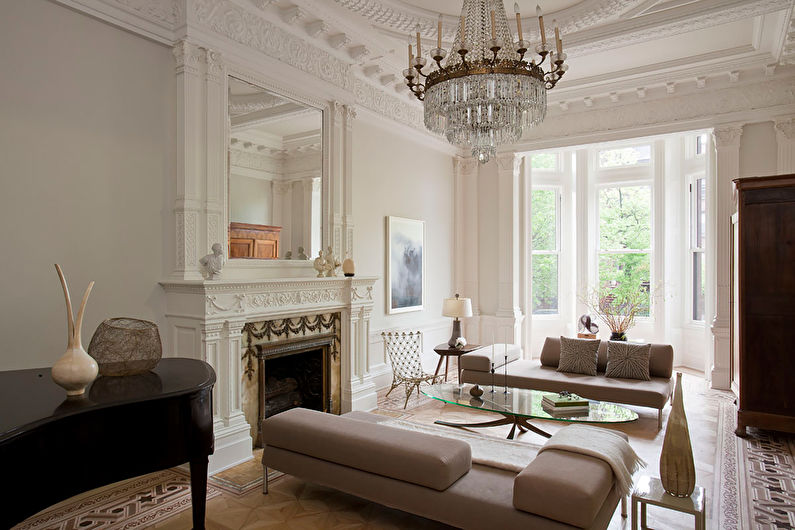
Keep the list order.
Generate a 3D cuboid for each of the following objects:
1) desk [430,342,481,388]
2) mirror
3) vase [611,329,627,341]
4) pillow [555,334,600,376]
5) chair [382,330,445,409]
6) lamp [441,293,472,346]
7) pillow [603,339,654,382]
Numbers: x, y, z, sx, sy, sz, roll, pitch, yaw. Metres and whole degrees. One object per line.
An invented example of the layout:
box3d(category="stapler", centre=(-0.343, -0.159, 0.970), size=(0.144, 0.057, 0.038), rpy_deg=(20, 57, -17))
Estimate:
box3d(category="desk", centre=(0.902, 1.703, 8.997), size=(0.750, 0.711, 0.766), rpy_deg=(2, 3, 23))
box3d(category="mirror", centre=(-1.650, -1.254, 7.209), size=(0.161, 2.302, 1.511), rpy_deg=(0, 2, 37))
box3d(category="vase", centre=(4.127, 1.315, 9.696), size=(0.321, 0.196, 0.321), rpy_deg=(1, -2, -2))
box3d(category="pillow", centre=(2.817, 1.429, 8.224), size=(0.582, 0.585, 0.229), rpy_deg=(3, -9, 26))
box3d(category="chair", centre=(0.261, 1.697, 8.866), size=(0.712, 1.006, 0.722), rpy_deg=(-3, 3, -30))
box3d(category="lamp", centre=(1.077, 0.928, 9.517), size=(0.478, 0.856, 1.701), rpy_deg=(-1, 1, 6))
box3d(category="pillow", centre=(3.460, 1.449, 7.906), size=(0.581, 0.556, 0.221), rpy_deg=(-1, -18, 27))
